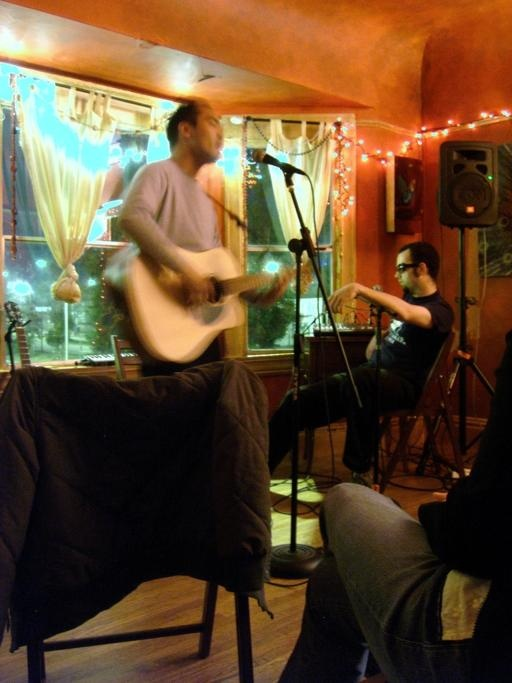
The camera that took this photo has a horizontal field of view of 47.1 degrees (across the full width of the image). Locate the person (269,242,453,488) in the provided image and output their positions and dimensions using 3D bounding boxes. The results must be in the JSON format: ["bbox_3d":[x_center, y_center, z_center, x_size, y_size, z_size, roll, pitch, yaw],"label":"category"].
[{"bbox_3d":[0.497,0.087,3.121,1.062,1.325,0.627,5,-11,-7],"label":"person"}]

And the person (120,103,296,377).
[{"bbox_3d":[-0.179,-0.307,1.760,0.107,0.820,0.402,-3,-1,35],"label":"person"}]

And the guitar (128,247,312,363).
[{"bbox_3d":[-0.147,-0.129,1.882,0.148,0.368,0.641,5,5,36],"label":"guitar"}]
